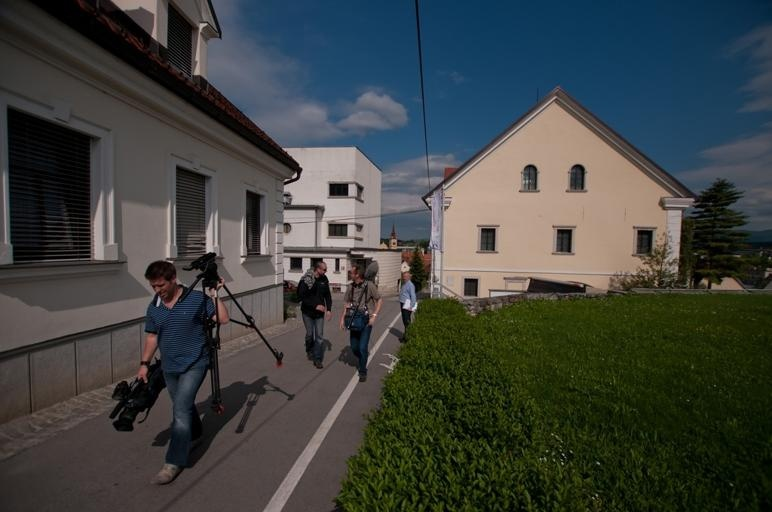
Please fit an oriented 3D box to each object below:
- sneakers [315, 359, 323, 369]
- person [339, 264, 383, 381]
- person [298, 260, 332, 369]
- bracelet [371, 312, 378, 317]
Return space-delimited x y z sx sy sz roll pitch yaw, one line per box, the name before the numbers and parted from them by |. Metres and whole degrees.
sneakers | -1.587 2.574 12.234 0.219 0.196 0.274 -1 1 -26
person | -0.575 1.524 11.609 0.849 2.612 0.515 0 1 1
person | -1.685 1.409 12.364 0.798 2.514 0.668 0 1 10
bracelet | -0.265 1.311 11.447 0.115 0.121 0.078 0 37 -35
